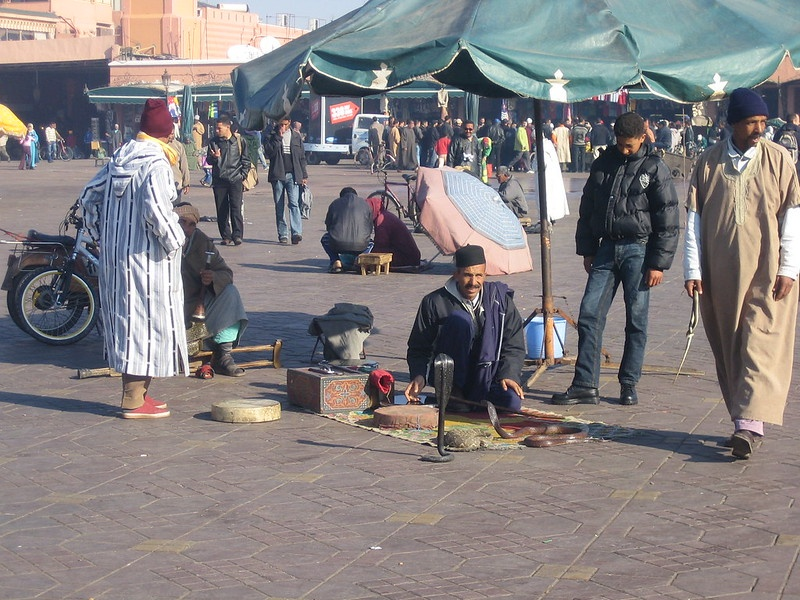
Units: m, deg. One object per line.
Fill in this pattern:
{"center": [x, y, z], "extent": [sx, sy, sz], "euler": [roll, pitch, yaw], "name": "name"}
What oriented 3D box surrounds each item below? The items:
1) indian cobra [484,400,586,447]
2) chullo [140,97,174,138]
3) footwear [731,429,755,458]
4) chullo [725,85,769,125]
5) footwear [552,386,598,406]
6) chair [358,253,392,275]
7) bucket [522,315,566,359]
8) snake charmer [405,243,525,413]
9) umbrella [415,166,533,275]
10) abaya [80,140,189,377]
{"center": [1.006, 0.846, 10.178], "extent": [0.731, 0.280, 0.502], "euler": [0, 15, 2], "name": "indian cobra"}
{"center": [-1.834, -1.360, 10.782], "extent": [0.310, 0.268, 0.302], "euler": [0, 7, -9], "name": "chullo"}
{"center": [2.365, 0.977, 9.604], "extent": [0.108, 0.103, 0.247], "euler": [25, -16, 27], "name": "footwear"}
{"center": [2.428, -1.307, 9.723], "extent": [0.291, 0.215, 0.261], "euler": [-1, 15, -8], "name": "chullo"}
{"center": [1.399, 0.754, 11.043], "extent": [0.354, 0.149, 0.143], "euler": [2, -3, 2], "name": "footwear"}
{"center": [-0.263, -0.405, 17.009], "extent": [0.297, 0.188, 0.330], "euler": [1, 1, 13], "name": "chair"}
{"center": [1.226, 0.330, 12.047], "extent": [0.449, 0.271, 0.380], "euler": [-4, 14, -10], "name": "bucket"}
{"center": [0.558, 0.187, 10.533], "extent": [0.686, 1.217, 0.799], "euler": [-1, 1, -33], "name": "snake charmer"}
{"center": [0.884, -0.909, 16.274], "extent": [1.290, 0.433, 1.214], "euler": [32, 30, -14], "name": "umbrella"}
{"center": [-1.826, -0.337, 10.702], "extent": [0.875, 1.669, 0.831], "euler": [-9, 20, -37], "name": "abaya"}
